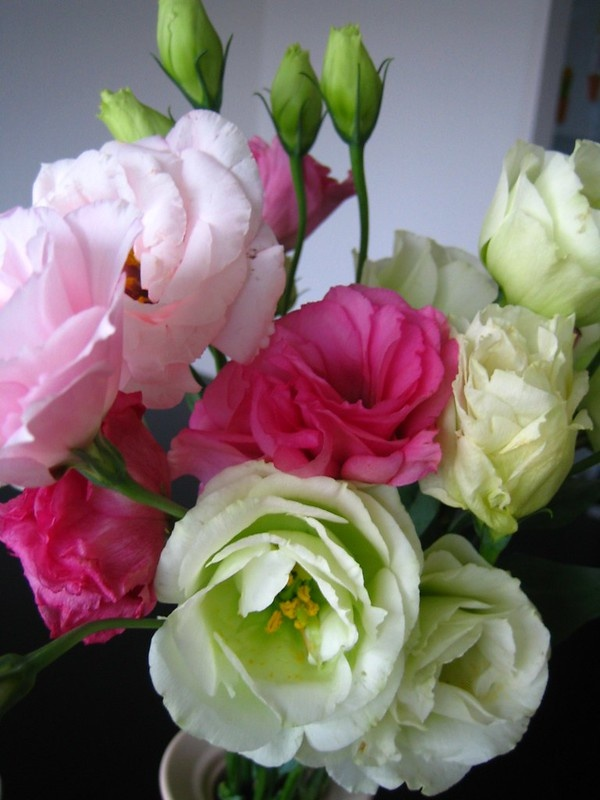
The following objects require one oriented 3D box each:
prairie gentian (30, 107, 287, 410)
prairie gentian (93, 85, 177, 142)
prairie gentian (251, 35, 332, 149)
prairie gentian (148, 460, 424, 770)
[{"bbox_3d":[-0.053,-0.054,0.351,0.131,0.116,0.060,0,0,27],"label":"prairie gentian"},{"bbox_3d":[-0.076,-0.146,0.388,0.054,0.019,0.028,3,66,2],"label":"prairie gentian"},{"bbox_3d":[-0.003,-0.161,0.392,0.051,0.057,0.053,0,18,-10],"label":"prairie gentian"},{"bbox_3d":[-0.005,0.095,0.313,0.111,0.126,0.083,1,41,-2],"label":"prairie gentian"}]
